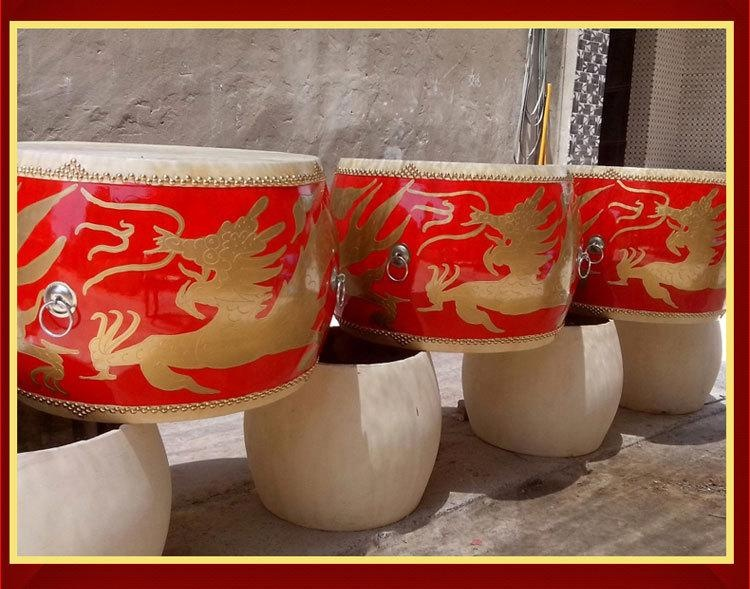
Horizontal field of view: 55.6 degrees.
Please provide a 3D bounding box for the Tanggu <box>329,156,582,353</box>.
[{"bbox_3d":[0.168,-0.093,1.435,0.461,0.339,0.506,-1,8,-8],"label":"Tanggu"}]

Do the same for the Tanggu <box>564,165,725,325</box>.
[{"bbox_3d":[0.610,-0.098,1.651,0.333,0.279,0.343,3,3,34],"label":"Tanggu"}]
